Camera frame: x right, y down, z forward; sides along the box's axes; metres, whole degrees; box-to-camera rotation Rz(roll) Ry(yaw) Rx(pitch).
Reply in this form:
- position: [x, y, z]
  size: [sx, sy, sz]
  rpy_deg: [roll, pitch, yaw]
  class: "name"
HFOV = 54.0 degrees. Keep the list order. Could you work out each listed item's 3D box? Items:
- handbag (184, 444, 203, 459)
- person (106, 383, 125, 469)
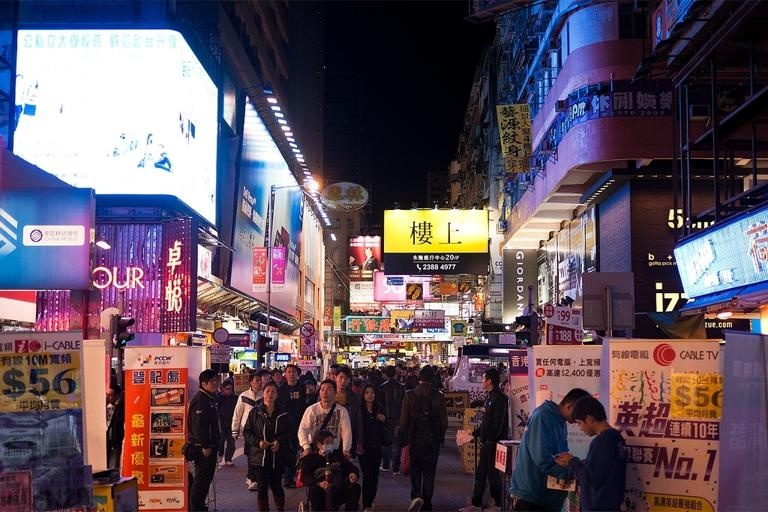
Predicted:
- position: [-3.296, 3.390, 13.084]
  size: [0.345, 0.302, 0.105]
  rpy_deg: [-2, -9, 21]
  class: "handbag"
- position: [-4.774, 3.015, 13.500]
  size: [0.290, 1.444, 0.561]
  rpy_deg: [4, -9, -19]
  class: "person"
